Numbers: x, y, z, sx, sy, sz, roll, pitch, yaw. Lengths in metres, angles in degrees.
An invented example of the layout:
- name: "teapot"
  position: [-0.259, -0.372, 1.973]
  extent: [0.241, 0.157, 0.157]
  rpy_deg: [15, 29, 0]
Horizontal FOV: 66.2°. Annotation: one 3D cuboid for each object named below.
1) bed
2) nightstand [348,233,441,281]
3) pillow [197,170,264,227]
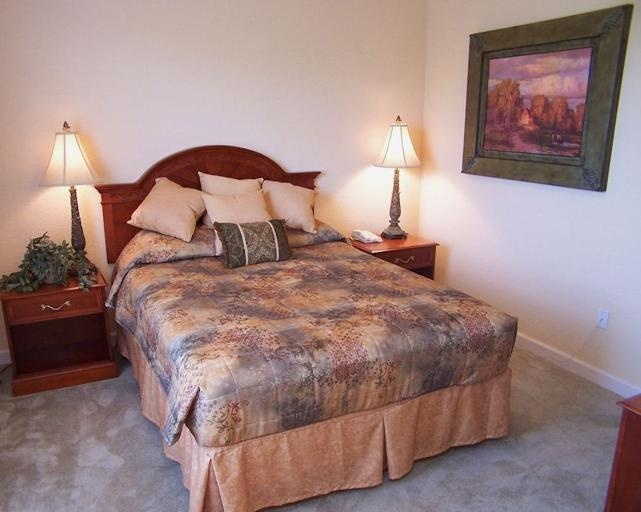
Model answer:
- name: "bed"
  position: [-0.161, 0.494, 3.062]
  extent: [1.842, 1.145, 1.887]
  rpy_deg: [-8, 14, -29]
- name: "nightstand"
  position: [0.673, -0.041, 4.177]
  extent: [0.534, 0.540, 0.396]
  rpy_deg: [-9, 20, -30]
- name: "pillow"
  position: [-0.685, -0.416, 3.659]
  extent: [0.489, 0.179, 0.366]
  rpy_deg: [-3, 46, -20]
